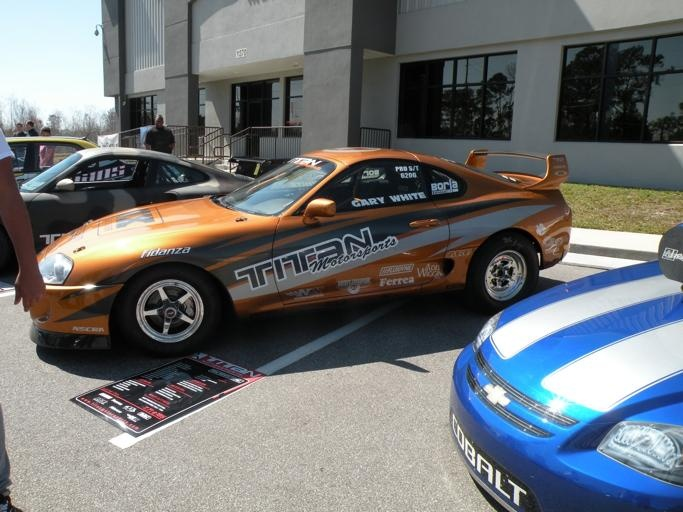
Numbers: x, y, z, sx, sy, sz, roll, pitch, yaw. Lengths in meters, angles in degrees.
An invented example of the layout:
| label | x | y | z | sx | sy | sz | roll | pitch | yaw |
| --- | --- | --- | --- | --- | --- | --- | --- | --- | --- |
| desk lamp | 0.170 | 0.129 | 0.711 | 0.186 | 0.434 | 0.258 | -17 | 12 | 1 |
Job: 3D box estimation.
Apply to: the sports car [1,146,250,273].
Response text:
| label | x | y | z | sx | sy | sz | roll | pitch | yaw |
| --- | --- | --- | --- | --- | --- | --- | --- | --- | --- |
| sports car | -3.425 | -0.908 | 6.690 | 3.745 | 0.924 | 1.575 | -4 | 8 | -18 |

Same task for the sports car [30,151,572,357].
| label | x | y | z | sx | sy | sz | roll | pitch | yaw |
| --- | --- | --- | --- | --- | --- | --- | --- | --- | --- |
| sports car | 0.093 | -0.215 | 4.996 | 5.742 | 1.318 | 2.144 | -2 | 12 | -19 |
